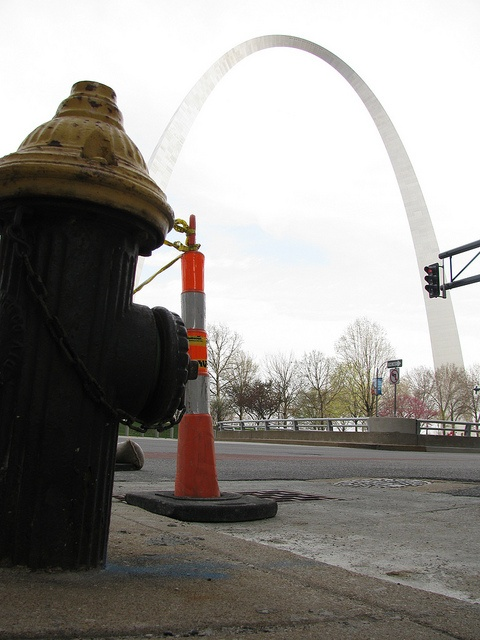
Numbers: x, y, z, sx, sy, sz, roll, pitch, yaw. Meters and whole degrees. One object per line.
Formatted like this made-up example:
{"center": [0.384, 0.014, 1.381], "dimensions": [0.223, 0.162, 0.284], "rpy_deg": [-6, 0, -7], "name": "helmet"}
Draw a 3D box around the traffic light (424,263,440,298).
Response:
{"center": [6.579, -1.339, 20.912], "dimensions": [0.516, 1.318, 1.533], "rpy_deg": [-4, -11, 18], "name": "traffic light"}
